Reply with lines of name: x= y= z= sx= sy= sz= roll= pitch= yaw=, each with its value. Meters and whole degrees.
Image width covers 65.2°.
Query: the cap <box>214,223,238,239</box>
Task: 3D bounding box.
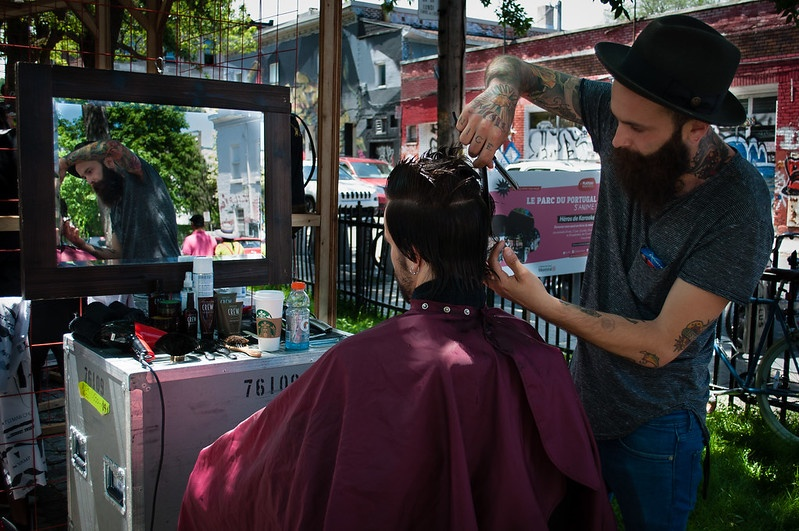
cap: x=-0.897 y=-0.178 z=3.252 sx=0.079 sy=0.032 sz=0.079 roll=4 pitch=15 yaw=-39

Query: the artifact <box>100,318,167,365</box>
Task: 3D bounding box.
artifact: x=-1.236 y=0.336 z=2.898 sx=0.236 sy=0.114 sz=0.184 roll=19 pitch=23 yaw=12

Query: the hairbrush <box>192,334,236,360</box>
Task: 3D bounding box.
hairbrush: x=-0.889 y=0.392 z=2.983 sx=0.097 sy=0.032 sz=0.180 roll=-1 pitch=16 yaw=-36

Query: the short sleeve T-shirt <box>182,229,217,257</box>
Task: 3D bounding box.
short sleeve T-shirt: x=-1.028 y=-0.107 z=3.208 sx=0.199 sy=0.203 sz=0.113 roll=0 pitch=13 yaw=-20

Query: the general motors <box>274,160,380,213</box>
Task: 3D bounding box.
general motors: x=-1.176 y=-1.771 z=14.807 sx=1.439 sy=1.330 sz=2.598 roll=-3 pitch=7 yaw=-34

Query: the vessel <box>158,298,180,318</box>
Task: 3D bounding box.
vessel: x=-1.127 y=0.210 z=3.042 sx=0.081 sy=0.065 sz=0.084 roll=1 pitch=-1 yaw=-6
